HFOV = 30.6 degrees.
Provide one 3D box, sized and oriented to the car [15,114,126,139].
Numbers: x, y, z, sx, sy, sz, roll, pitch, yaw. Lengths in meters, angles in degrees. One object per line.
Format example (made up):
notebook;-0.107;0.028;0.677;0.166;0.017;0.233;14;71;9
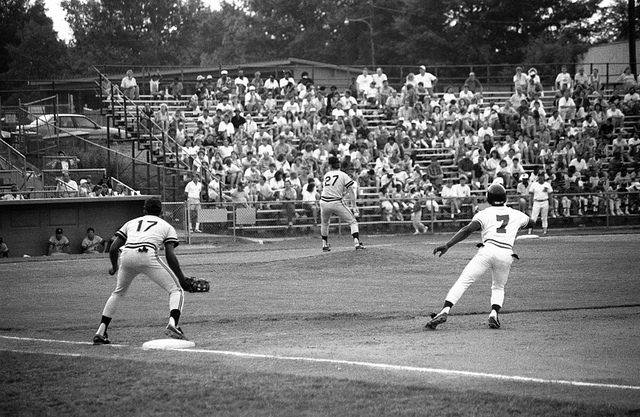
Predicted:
car;-15.808;-5.309;74.827;6.648;2.045;2.929;-3;6;-25

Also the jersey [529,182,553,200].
jersey;11.526;-0.959;60.925;1.406;1.106;0.797;2;3;10

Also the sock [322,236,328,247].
sock;0.253;1.546;54.469;0.227;0.505;0.392;-1;2;1

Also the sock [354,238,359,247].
sock;1.687;1.557;53.314;0.195;0.413;0.528;-1;2;1

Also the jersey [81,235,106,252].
jersey;-11.377;1.790;58.769;1.260;0.929;0.679;-1;2;-28

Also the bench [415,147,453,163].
bench;6.488;-3.099;65.838;1.628;1.008;0.380;2;-13;0

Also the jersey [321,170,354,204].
jersey;0.646;-0.905;53.684;1.949;1.605;1.077;-1;-9;31

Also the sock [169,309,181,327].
sock;-5.512;4.173;44.494;0.401;0.667;0.354;-1;2;0
